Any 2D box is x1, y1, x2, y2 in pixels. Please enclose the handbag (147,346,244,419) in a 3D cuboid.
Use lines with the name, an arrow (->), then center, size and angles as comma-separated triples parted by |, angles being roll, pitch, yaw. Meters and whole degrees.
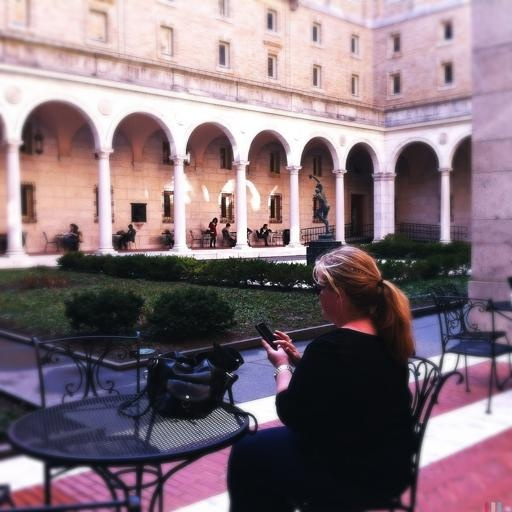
handbag -> -0.254, 0.574, 2.411 | 0.359, 0.258, 0.291 | 2, 2, 11

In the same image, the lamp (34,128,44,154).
lamp -> -8.208, -4.397, 21.863 | 0.363, 1.119, 2.133 | -2, 2, -21
